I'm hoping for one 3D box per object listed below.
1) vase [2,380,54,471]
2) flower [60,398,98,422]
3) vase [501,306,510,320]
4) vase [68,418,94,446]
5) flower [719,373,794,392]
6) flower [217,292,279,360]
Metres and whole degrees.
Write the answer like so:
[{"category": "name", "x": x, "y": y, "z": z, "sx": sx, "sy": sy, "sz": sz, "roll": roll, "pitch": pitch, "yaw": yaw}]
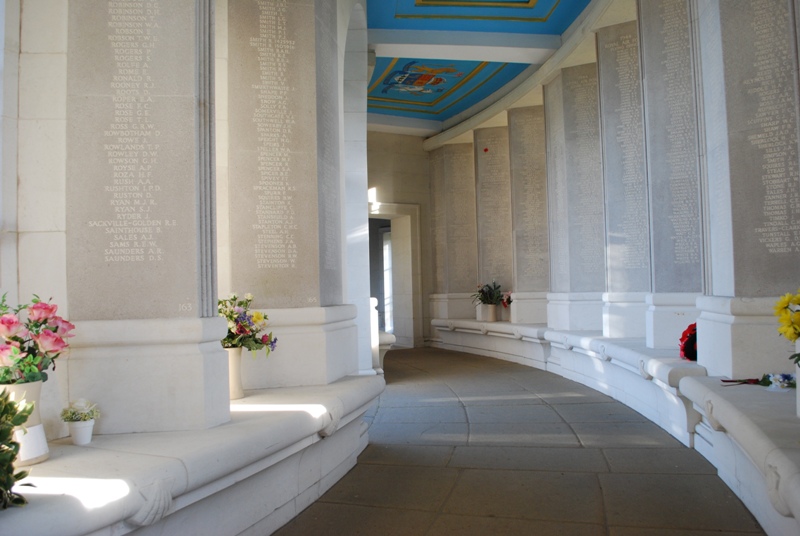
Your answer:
[{"category": "vase", "x": -1.810, "y": 0.745, "z": 3.060, "sx": 0.190, "sy": 0.383, "sz": 0.195, "roll": -3, "pitch": 4, "yaw": -36}, {"category": "flower", "x": -1.681, "y": 0.742, "z": 3.320, "sx": 0.171, "sy": 0.108, "sz": 0.108, "roll": -3, "pitch": 3, "yaw": -30}, {"category": "vase", "x": 1.842, "y": 0.797, "z": 11.110, "sx": 0.123, "sy": 0.234, "sz": 0.300, "roll": -1, "pitch": 3, "yaw": -2}, {"category": "vase", "x": -1.657, "y": 0.844, "z": 3.285, "sx": 0.133, "sy": 0.104, "sz": 0.135, "roll": -5, "pitch": -10, "yaw": 25}, {"category": "flower", "x": 2.480, "y": 0.771, "z": 4.322, "sx": 0.270, "sy": 0.091, "sz": 0.160, "roll": -3, "pitch": -11, "yaw": 18}, {"category": "flower", "x": -1.050, "y": 0.395, "z": 4.387, "sx": 0.381, "sy": 0.430, "sz": 0.443, "roll": -2, "pitch": 3, "yaw": -11}]
